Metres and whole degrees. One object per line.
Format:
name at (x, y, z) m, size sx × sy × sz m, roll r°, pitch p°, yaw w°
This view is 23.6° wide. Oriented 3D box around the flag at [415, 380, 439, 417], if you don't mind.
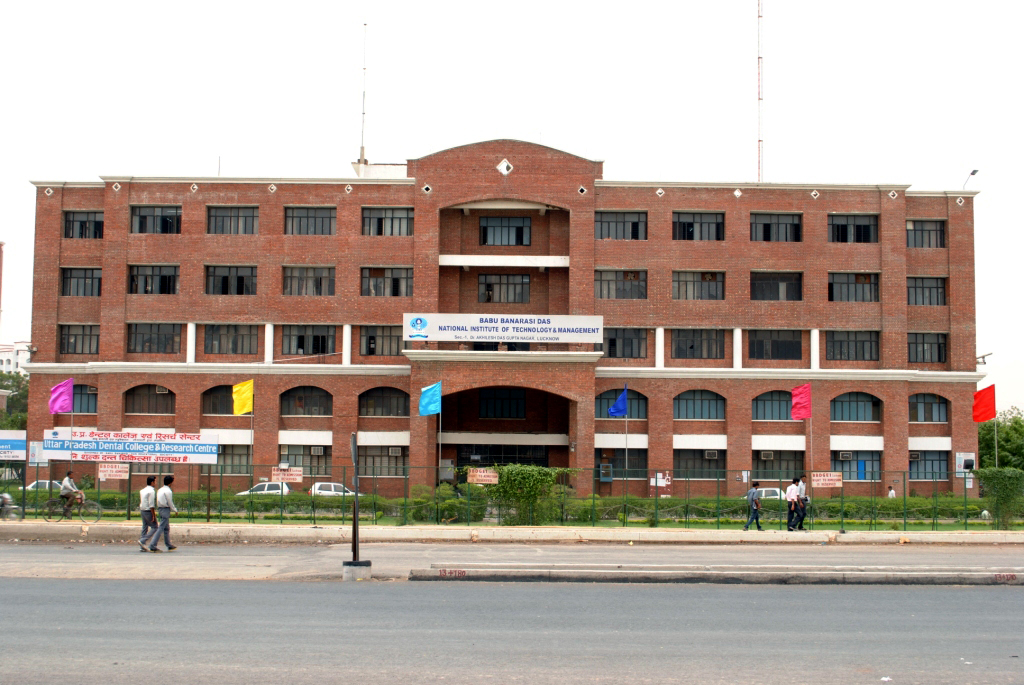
flag at (-4.527, 3.392, 143.825) m, size 1.333 × 2.051 × 2.329 m, roll 1°, pitch -11°, yaw -4°
